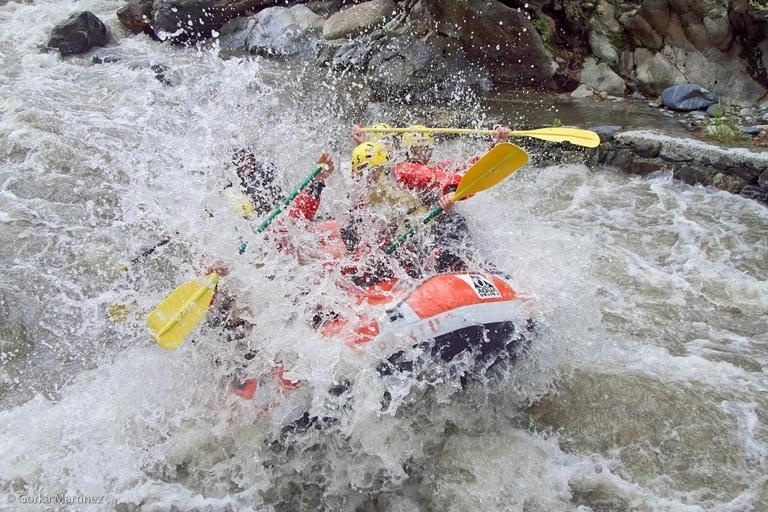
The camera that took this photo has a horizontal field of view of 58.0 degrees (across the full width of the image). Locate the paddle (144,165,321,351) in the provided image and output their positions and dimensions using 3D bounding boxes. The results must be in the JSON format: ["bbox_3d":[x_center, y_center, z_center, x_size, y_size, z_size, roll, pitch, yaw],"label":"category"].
[{"bbox_3d":[-1.881,0.096,8.472,0.587,0.118,2.707,46,75,-5],"label":"paddle"}]
